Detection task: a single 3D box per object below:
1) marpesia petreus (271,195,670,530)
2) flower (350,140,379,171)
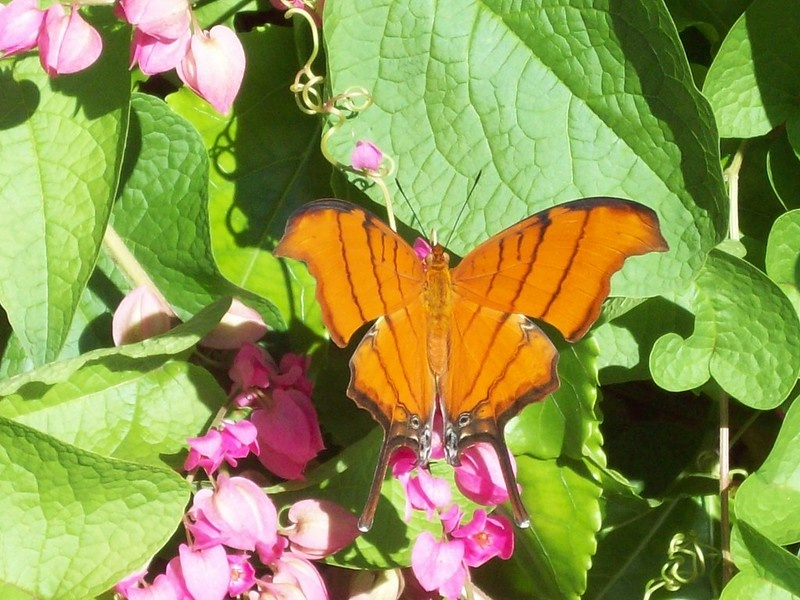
[{"bbox_3d":[0.071,0.065,1.106,0.346,0.323,0.039,3,-9,-2],"label":"marpesia petreus"},{"bbox_3d":[-0.036,-0.158,1.087,0.027,0.035,0.012,0,2,-6],"label":"flower"}]
